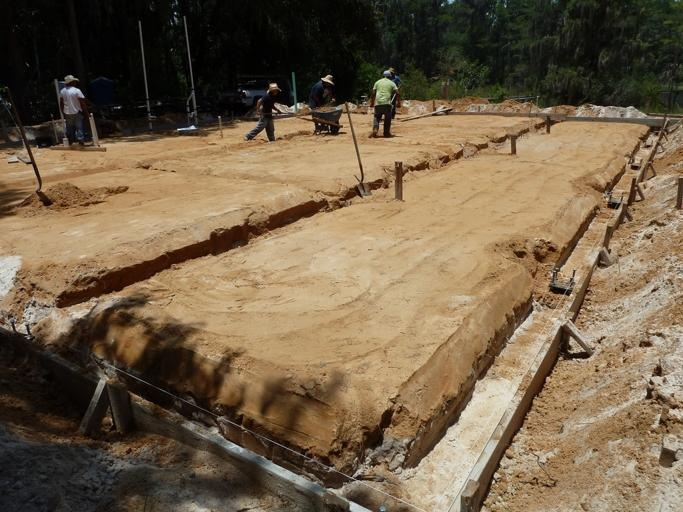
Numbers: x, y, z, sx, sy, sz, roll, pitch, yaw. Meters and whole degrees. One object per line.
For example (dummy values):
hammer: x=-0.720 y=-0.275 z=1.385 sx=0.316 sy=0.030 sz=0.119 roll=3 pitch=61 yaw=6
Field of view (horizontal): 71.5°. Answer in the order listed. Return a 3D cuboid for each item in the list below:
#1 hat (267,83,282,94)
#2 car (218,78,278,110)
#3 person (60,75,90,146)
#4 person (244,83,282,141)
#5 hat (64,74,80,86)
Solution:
hat: x=-1.763 y=-4.351 z=12.444 sx=0.195 sy=0.227 sz=0.453 roll=-3 pitch=21 yaw=4
car: x=-3.999 y=-7.306 z=21.325 sx=1.491 sy=1.093 sz=2.497 roll=21 pitch=41 yaw=39
person: x=-7.295 y=-3.937 z=12.976 sx=0.680 sy=1.751 sz=0.866 roll=-16 pitch=24 yaw=-26
person: x=-2.176 y=-4.028 z=13.406 sx=0.939 sy=1.487 sz=2.443 roll=-7 pitch=21 yaw=-5
hat: x=-7.204 y=-4.680 z=12.685 sx=0.248 sy=0.221 sz=0.647 roll=-17 pitch=24 yaw=-28
